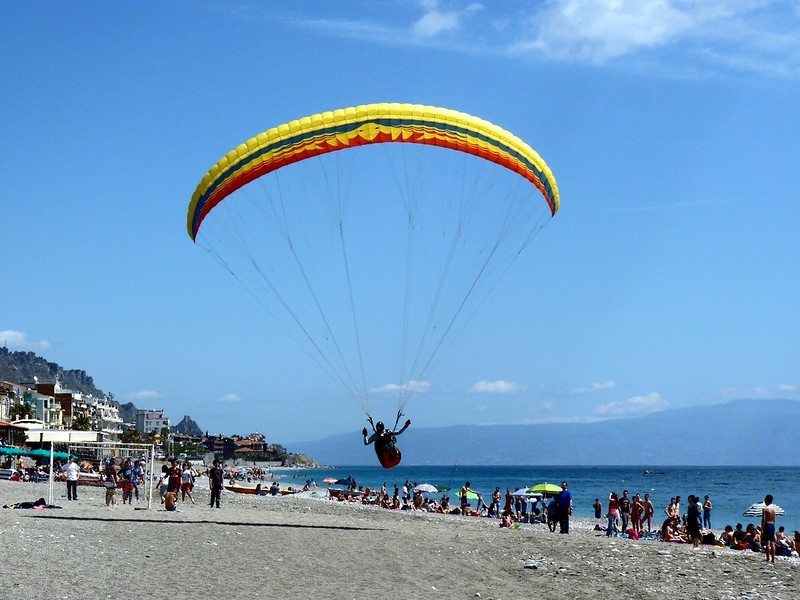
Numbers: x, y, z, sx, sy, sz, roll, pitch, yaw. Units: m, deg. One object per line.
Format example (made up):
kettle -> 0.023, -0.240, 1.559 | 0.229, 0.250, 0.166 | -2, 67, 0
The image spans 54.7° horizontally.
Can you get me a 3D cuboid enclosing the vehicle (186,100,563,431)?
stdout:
vehicle -> -0.794, -3.989, 23.256 | 10.333, 3.099, 3.052 | 5, -14, -13
